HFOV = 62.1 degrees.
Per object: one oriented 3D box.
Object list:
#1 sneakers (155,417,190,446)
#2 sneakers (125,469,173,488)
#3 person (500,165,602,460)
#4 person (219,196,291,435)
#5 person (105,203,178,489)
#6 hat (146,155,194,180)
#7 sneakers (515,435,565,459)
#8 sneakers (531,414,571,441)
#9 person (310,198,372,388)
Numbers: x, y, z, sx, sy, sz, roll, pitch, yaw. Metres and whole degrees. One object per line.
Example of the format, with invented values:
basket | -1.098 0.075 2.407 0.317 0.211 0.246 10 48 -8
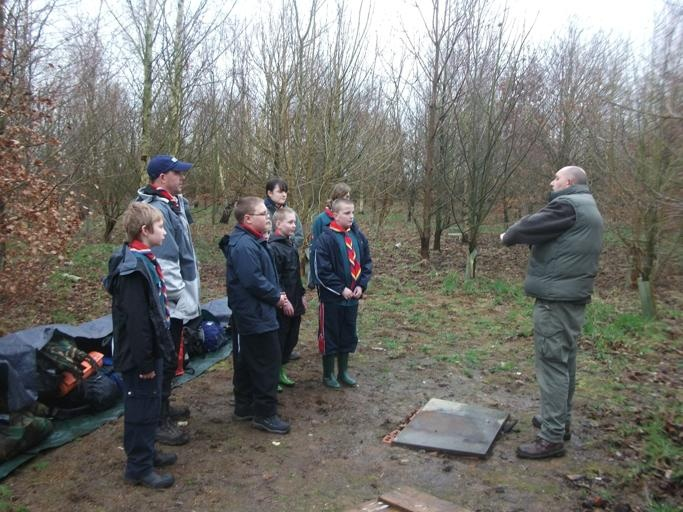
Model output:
sneakers | -1.815 1.918 6.179 0.413 0.311 0.182 0 3 6
sneakers | -1.849 2.177 5.512 0.455 0.218 0.189 3 0 -6
person | 2.237 0.562 5.995 0.760 2.896 1.143 7 15 29
person | -0.927 0.662 6.314 0.797 2.536 0.544 10 16 39
person | -1.954 0.870 5.545 0.575 2.692 0.809 -5 14 -21
hat | -1.923 -0.978 6.258 0.390 0.224 0.262 -16 18 -14
sneakers | 2.087 1.993 5.952 0.449 0.246 0.205 2 3 1
sneakers | 2.215 1.812 5.942 0.120 0.278 0.382 -6 36 -17
person | 0.008 0.485 7.288 0.774 2.387 0.496 -11 16 -39
